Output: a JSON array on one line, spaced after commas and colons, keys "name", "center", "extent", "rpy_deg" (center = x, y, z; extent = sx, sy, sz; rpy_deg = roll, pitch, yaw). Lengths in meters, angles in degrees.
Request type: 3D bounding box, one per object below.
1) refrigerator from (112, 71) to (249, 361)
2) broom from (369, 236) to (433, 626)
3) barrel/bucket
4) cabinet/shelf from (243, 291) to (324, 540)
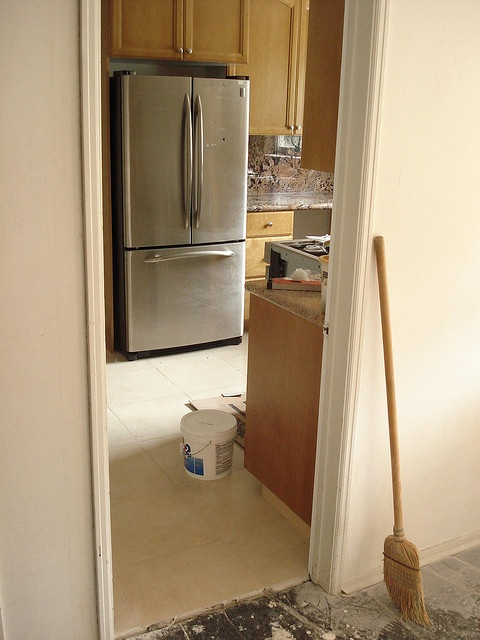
[{"name": "refrigerator", "center": [-0.347, -0.643, 3.587], "extent": [0.924, 1.878, 0.378], "rpy_deg": [-6, 12, -30]}, {"name": "broom", "center": [0.438, 0.414, 1.484], "extent": [0.158, 1.195, 0.111], "rpy_deg": [14, 36, 41]}, {"name": "barrel/bucket", "center": [-0.140, 0.586, 2.414], "extent": [0.245, 0.281, 0.284], "rpy_deg": [-1, 13, -6]}, {"name": "cabinet/shelf", "center": [0.301, 0.385, 2.165], "extent": [0.302, 0.821, 0.475], "rpy_deg": [9, -9, 27]}]
